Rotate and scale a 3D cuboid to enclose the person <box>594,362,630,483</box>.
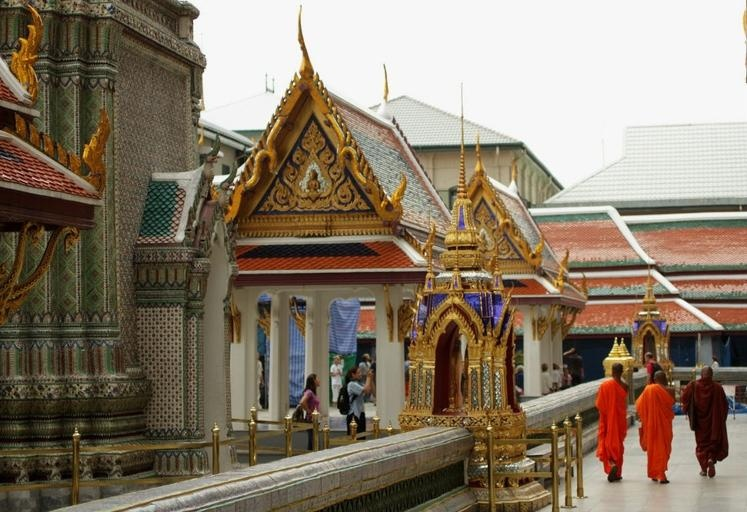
[{"bbox_3d":[3.493,2.420,19.426,0.488,1.846,1.135,-4,-15,10],"label":"person"}]

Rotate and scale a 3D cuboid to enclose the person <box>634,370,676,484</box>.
[{"bbox_3d":[4.124,2.500,19.260,0.505,1.651,1.219,-4,-15,10],"label":"person"}]

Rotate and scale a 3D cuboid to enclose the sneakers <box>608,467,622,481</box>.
[{"bbox_3d":[3.456,3.128,18.970,0.106,0.283,0.119,5,-8,3],"label":"sneakers"}]

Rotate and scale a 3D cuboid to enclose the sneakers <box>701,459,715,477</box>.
[{"bbox_3d":[4.906,3.129,19.419,0.106,0.137,0.330,0,-55,19],"label":"sneakers"}]

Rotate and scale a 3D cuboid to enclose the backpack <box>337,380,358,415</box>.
[{"bbox_3d":[-0.388,2.398,22.517,0.324,0.578,0.391,12,1,2],"label":"backpack"}]

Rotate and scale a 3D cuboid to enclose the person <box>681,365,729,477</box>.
[{"bbox_3d":[4.941,2.440,19.715,0.651,1.641,0.611,0,13,13],"label":"person"}]
